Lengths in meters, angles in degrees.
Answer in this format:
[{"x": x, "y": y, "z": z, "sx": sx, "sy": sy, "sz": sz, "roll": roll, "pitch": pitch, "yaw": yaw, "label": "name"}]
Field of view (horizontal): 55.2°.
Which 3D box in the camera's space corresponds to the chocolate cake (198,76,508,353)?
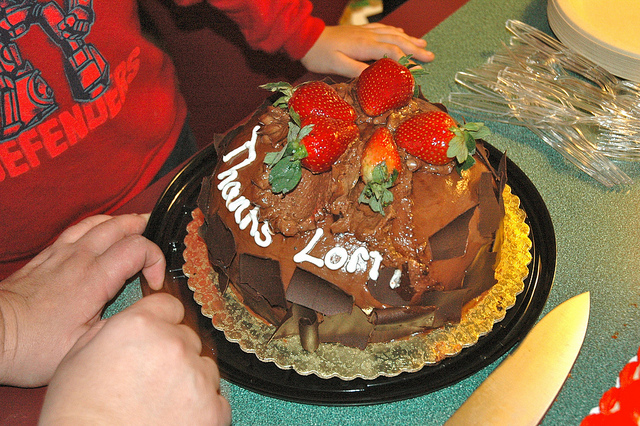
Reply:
[{"x": 0.148, "y": 0.167, "z": 2.586, "sx": 1.169, "sy": 0.357, "sz": 1.209, "roll": 27, "pitch": 71, "yaw": 12, "label": "chocolate cake"}]
